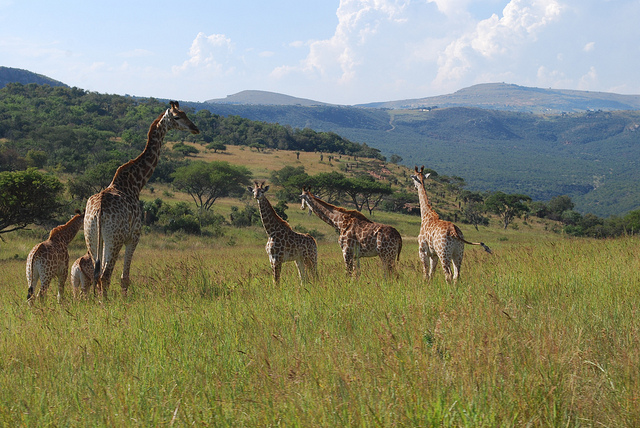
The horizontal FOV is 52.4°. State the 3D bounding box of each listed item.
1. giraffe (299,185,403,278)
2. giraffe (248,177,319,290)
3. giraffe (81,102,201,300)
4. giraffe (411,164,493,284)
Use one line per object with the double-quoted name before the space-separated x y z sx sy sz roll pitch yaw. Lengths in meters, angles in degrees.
"giraffe" 0.653 0.584 14.710 2.623 2.068 0.681 7 11 27
"giraffe" -0.820 0.406 14.794 1.488 2.396 5.027 1 0 -3
"giraffe" -3.912 -0.358 13.052 1.013 3.783 2.154 1 0 23
"giraffe" 2.403 0.146 13.555 0.988 2.426 2.562 1 0 7
